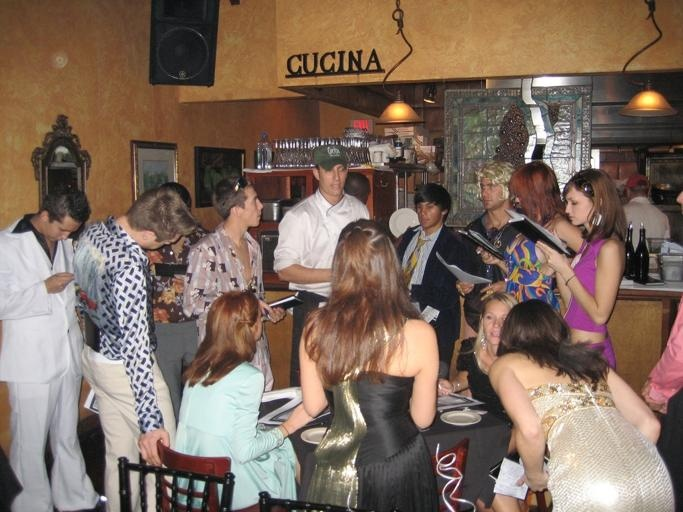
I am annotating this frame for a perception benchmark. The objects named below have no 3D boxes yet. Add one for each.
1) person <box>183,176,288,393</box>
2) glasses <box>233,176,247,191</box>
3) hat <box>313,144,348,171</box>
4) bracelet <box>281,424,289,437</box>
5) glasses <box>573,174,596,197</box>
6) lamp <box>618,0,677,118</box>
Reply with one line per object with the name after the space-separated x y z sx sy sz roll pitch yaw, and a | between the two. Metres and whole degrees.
-0.764 0.553 4.961 0.656 2.163 0.614 -12 20 -35 | person
-0.699 -0.498 4.758 0.088 0.096 0.107 -2 7 0 | glasses
-0.083 -0.723 5.039 0.229 0.188 0.148 -2 7 -3 | hat
-0.302 0.945 3.650 0.012 0.053 0.052 -10 -17 8 | bracelet
1.495 -0.433 4.201 0.118 0.124 0.039 18 54 46 | glasses
3.012 -1.865 6.661 0.515 0.960 1.583 1 8 22 | lamp
